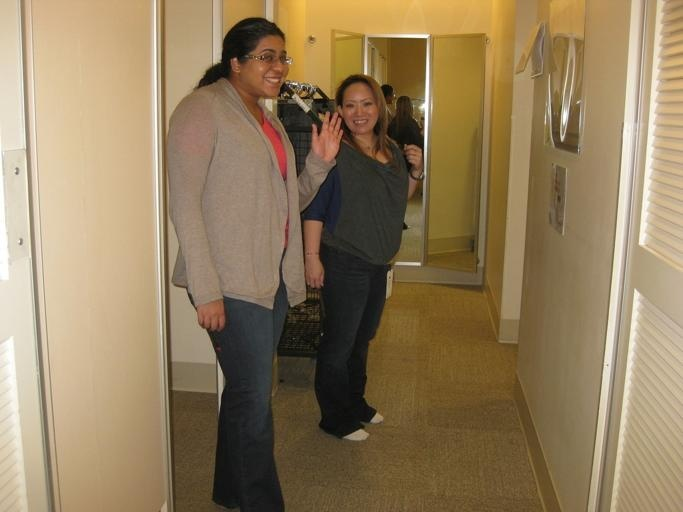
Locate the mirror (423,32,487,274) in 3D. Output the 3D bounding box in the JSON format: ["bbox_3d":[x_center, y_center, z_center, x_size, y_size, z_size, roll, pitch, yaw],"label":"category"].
[{"bbox_3d":[1.092,-1.117,5.595,0.616,2.400,0.051,2,-8,17],"label":"mirror"}]

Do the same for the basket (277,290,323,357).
[{"bbox_3d":[-0.249,0.370,3.670,0.211,0.131,0.393,-7,21,3],"label":"basket"}]

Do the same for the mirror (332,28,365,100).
[{"bbox_3d":[-0.037,-1.941,5.636,0.293,0.516,0.436,7,35,39],"label":"mirror"}]

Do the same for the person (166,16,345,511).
[{"bbox_3d":[-0.361,0.086,2.086,0.365,1.843,0.544,5,12,20],"label":"person"}]
